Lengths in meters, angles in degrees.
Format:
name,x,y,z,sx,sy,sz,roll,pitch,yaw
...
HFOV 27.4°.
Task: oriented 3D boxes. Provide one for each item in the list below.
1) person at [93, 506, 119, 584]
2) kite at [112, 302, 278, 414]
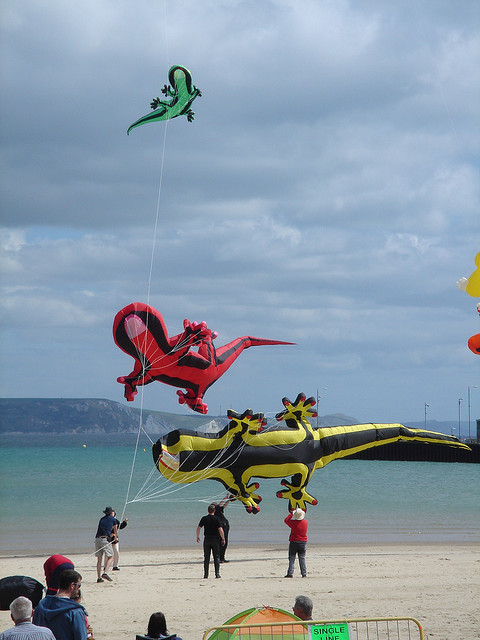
name,x,y,z,sx,sy,sz,roll,pitch,yaw
person,-2.740,4.626,20.265,0.428,1.512,1.132,4,-6,-6
kite,-0.728,0.816,20.159,4.114,1.631,1.695,18,-30,-37
